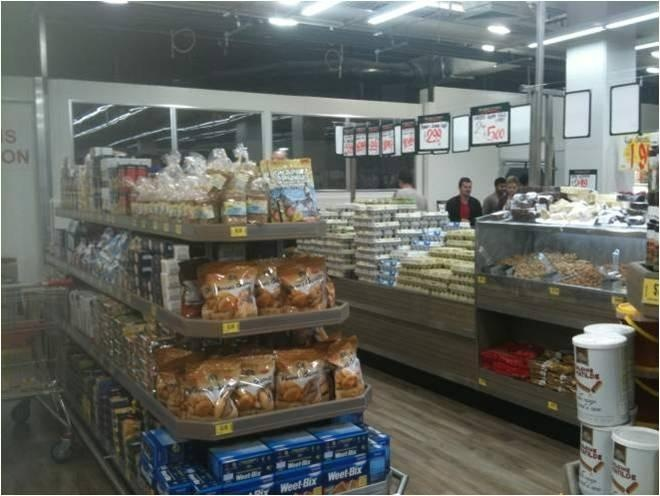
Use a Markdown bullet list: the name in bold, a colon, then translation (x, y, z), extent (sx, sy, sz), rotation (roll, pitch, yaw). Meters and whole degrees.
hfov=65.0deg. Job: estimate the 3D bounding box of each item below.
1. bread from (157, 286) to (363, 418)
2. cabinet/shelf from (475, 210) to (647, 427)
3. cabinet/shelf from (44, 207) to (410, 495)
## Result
- **bread**: translation (-0.432, 0.721, 3.059), extent (0.778, 0.256, 0.829), rotation (-5, 11, -26)
- **cabinet/shelf**: translation (1.931, 0.454, 4.171), extent (0.602, 1.712, 1.743), rotation (-4, 4, -22)
- **cabinet/shelf**: translation (-0.820, 0.666, 3.313), extent (2.387, 1.663, 1.085), rotation (5, 11, 34)
